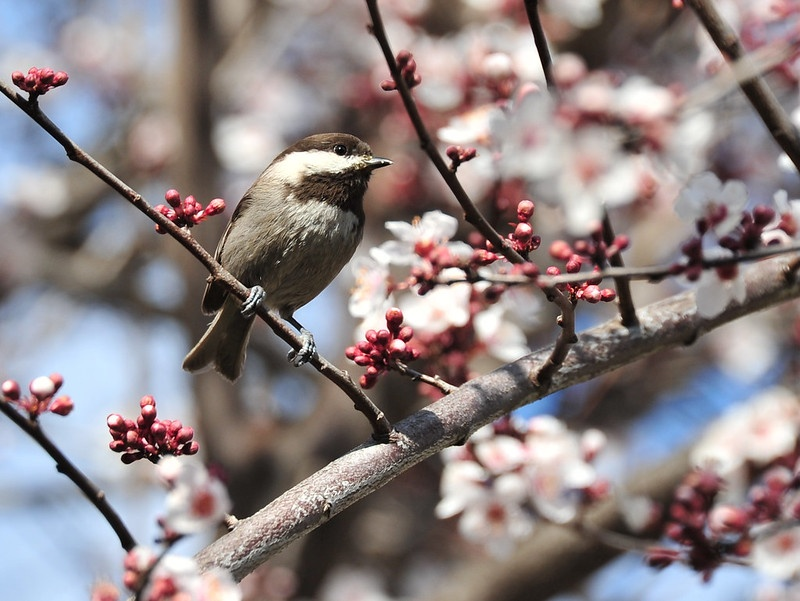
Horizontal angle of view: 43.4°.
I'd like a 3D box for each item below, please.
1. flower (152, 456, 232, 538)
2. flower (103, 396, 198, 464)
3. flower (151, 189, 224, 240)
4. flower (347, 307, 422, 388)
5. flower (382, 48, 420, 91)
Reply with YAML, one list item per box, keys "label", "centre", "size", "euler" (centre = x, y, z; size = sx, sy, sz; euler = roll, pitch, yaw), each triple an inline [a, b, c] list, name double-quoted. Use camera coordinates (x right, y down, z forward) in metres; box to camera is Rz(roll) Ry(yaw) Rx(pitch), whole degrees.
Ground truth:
- label: "flower"
  centre: [-0.941, 0.887, 4.586]
  size: [0.386, 0.399, 0.266]
  euler: [16, -68, -15]
- label: "flower"
  centre: [-1.178, 0.626, 4.749]
  size: [0.398, 0.333, 0.303]
  euler: [-17, -63, 0]
- label: "flower"
  centre: [-1.021, -0.413, 4.851]
  size: [0.310, 0.219, 0.165]
  euler: [14, -67, -15]
- label: "flower"
  centre: [-0.086, 0.234, 4.848]
  size: [0.193, 0.367, 0.413]
  euler: [23, -100, -59]
- label: "flower"
  centre: [0.018, -1.036, 4.519]
  size: [0.066, 0.187, 0.182]
  euler: [-3, -84, -45]
